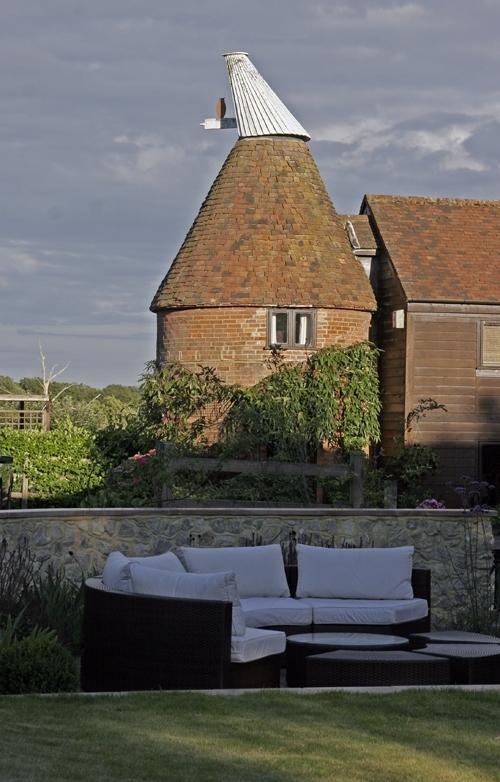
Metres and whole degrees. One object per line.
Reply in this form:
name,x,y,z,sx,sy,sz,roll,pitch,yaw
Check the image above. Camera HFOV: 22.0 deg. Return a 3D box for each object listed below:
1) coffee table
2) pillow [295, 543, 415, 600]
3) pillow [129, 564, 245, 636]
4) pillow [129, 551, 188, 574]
coffee table,0.694,2.071,10.488,1.099,0.356,1.315,0,-2,20
pillow,0.964,1.660,11.907,1.120,0.545,0.211,0,8,4
pillow,-0.495,1.479,9.832,1.274,0.704,0.497,0,-6,7
pillow,-0.775,1.456,10.911,0.282,0.085,0.277,7,10,-16
